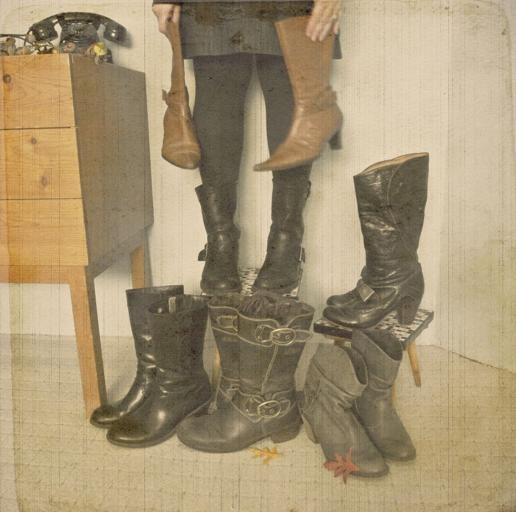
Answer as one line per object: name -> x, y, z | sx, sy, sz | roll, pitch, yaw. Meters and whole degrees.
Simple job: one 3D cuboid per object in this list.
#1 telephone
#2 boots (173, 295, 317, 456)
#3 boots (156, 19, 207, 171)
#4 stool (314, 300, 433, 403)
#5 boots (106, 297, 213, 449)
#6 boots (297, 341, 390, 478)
telephone -> -0.385, -0.479, 2.509 | 0.215, 0.108, 0.065 | 0, 12, -7
boots -> 0.003, 0.258, 2.506 | 0.393, 0.391, 0.223 | 1, 8, -4
boots -> -0.161, -0.358, 2.497 | 0.098, 0.295, 0.132 | -3, 3, -5
stool -> 0.249, 0.190, 2.626 | 0.246, 0.194, 0.231 | -2, 31, -1
boots -> -0.217, 0.250, 2.535 | 0.138, 0.273, 0.300 | 17, 25, 38
boots -> 0.192, 0.329, 2.532 | 0.123, 0.231, 0.332 | -2, 19, -27
